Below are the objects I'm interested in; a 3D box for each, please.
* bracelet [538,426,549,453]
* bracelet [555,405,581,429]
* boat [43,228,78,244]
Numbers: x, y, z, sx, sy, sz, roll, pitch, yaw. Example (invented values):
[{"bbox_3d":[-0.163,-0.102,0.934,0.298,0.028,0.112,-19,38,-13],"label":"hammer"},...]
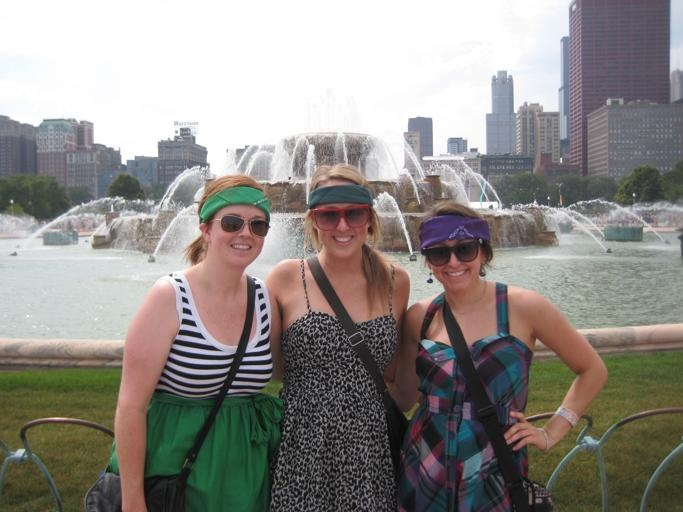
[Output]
[{"bbox_3d":[1.325,1.200,4.198,0.050,0.136,0.100,-1,-3,-11],"label":"bracelet"},{"bbox_3d":[1.487,1.049,4.257,0.067,0.142,0.133,-40,20,-26],"label":"bracelet"},{"bbox_3d":[-18.222,-1.158,42.342,0.891,0.871,2.413,0,5,26],"label":"boat"}]
